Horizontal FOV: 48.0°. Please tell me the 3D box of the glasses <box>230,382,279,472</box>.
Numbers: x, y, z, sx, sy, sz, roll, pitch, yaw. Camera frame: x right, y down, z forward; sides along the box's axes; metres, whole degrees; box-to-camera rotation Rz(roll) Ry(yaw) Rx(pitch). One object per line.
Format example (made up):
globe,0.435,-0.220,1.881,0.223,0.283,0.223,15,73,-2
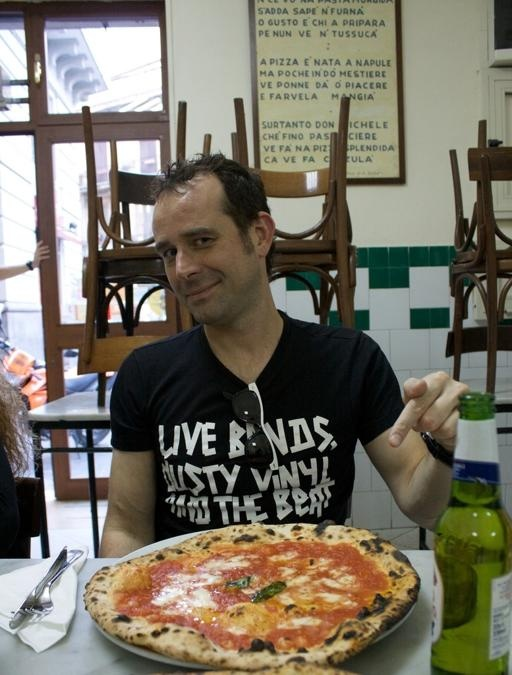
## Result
glasses,-0.005,0.154,1.007,0.061,0.139,0.069,-6,-1,-22
